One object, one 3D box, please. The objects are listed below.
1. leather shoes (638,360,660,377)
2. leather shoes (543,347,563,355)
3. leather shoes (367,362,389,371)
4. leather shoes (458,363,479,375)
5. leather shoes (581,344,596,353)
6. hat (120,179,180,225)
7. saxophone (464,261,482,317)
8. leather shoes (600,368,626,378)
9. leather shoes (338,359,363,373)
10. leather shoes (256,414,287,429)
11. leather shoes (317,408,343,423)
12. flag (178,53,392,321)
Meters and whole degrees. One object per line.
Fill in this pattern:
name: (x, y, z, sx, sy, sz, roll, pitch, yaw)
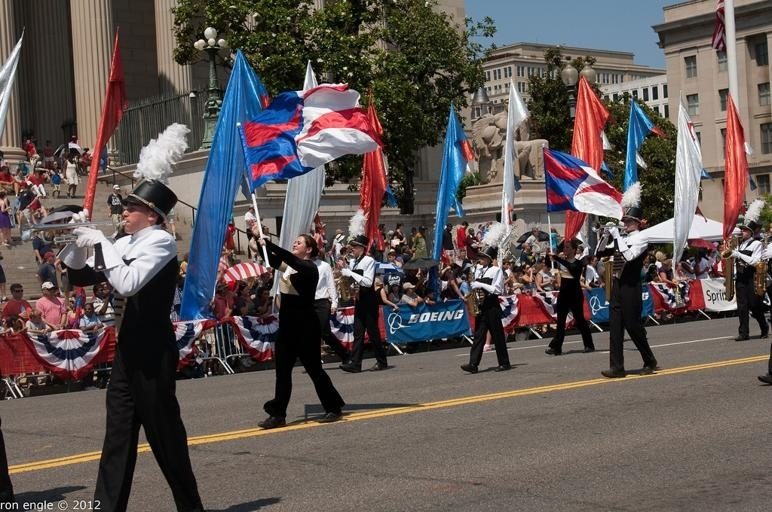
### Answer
leather shoes: (4.585, 1.943, 16.463, 0.165, 0.219, 0.510, -7, -9, 38)
leather shoes: (3.521, 2.043, 19.997, 0.378, 0.190, 0.138, 14, -4, 10)
leather shoes: (-0.143, 2.221, 18.943, 0.378, 0.152, 0.134, 5, -8, -41)
leather shoes: (1.517, 2.113, 17.576, 0.382, 0.138, 0.166, 20, 10, -24)
leather shoes: (4.334, 2.001, 20.388, 0.120, 0.246, 0.355, -4, 5, -31)
hat: (-2.594, -0.643, 10.406, 0.537, 0.345, 0.399, 18, 8, -14)
saxophone: (1.625, 0.591, 17.923, 0.281, 1.175, 0.360, 1, 11, 0)
leather shoes: (3.853, 1.987, 16.116, 0.446, 0.195, 0.162, 4, -3, -9)
leather shoes: (-0.706, 2.173, 18.650, 0.336, 0.153, 0.200, 8, -1, -2)
leather shoes: (-1.639, 2.384, 13.497, 0.435, 0.189, 0.152, 4, -3, -20)
leather shoes: (-0.781, 2.312, 13.662, 0.406, 0.165, 0.149, -1, -2, -25)
flag: (-0.305, -1.500, 15.806, 2.732, 4.856, 5.689, 4, -14, -15)
